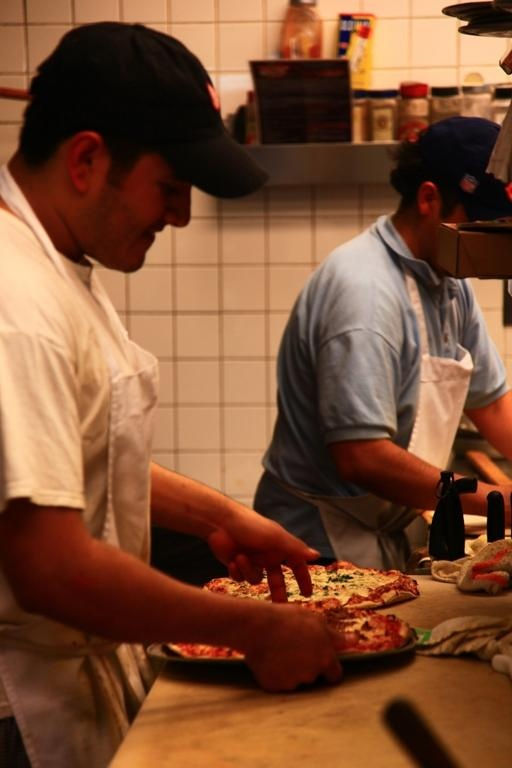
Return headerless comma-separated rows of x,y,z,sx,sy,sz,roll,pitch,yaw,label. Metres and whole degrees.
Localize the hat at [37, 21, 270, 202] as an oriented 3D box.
-0.114,-0.299,0.771,0.280,0.137,0.174,14,27,1,hat
